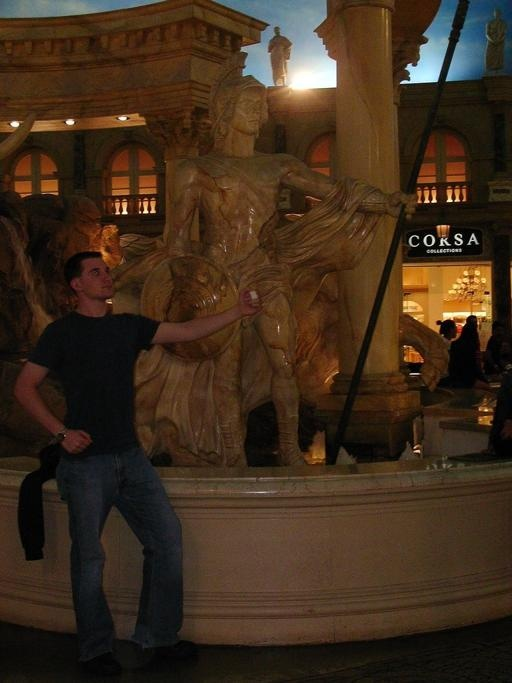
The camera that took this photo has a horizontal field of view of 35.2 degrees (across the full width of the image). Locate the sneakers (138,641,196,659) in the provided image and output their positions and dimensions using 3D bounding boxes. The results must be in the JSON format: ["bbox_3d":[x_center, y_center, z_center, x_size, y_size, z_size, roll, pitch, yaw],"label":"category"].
[{"bbox_3d":[-0.335,1.151,3.037,0.221,0.078,0.074,6,1,-12],"label":"sneakers"}]

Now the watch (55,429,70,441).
[{"bbox_3d":[-0.684,0.329,2.838,0.037,0.023,0.047,16,13,-8],"label":"watch"}]

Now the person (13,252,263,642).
[{"bbox_3d":[-0.463,0.508,2.996,0.679,1.243,0.342,-8,9,-42],"label":"person"}]
